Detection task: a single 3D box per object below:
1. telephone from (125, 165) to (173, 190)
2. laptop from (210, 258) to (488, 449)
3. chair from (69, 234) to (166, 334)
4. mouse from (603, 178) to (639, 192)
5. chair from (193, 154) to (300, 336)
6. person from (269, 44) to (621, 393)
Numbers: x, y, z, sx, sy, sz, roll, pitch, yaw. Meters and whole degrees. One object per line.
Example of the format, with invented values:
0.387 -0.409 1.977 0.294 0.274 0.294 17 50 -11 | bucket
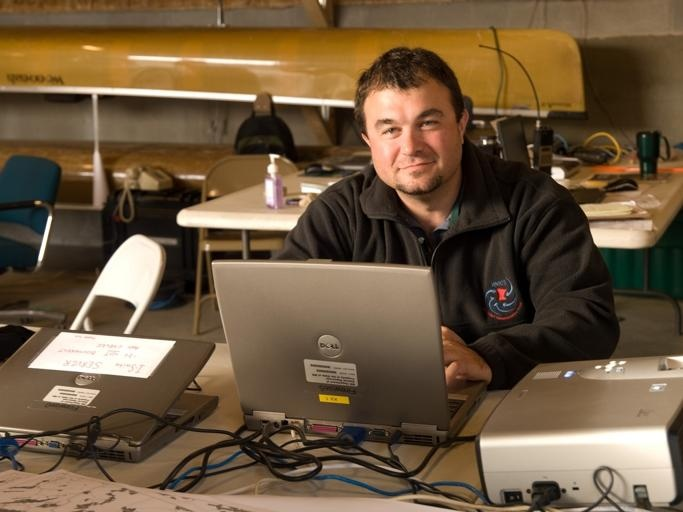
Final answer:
-1.289 -0.503 4.358 0.238 0.136 0.232 0 3 12 | telephone
0.011 0.125 1.218 0.357 0.293 0.374 2 12 17 | laptop
-0.721 0.160 2.112 0.213 0.283 0.234 20 -10 -27 | chair
1.120 -0.282 2.649 0.114 0.032 0.092 2 9 39 | mouse
-0.398 -0.041 3.455 0.691 1.045 0.624 0 2 -15 | chair
0.220 -0.103 1.696 0.972 0.747 0.700 3 17 29 | person
